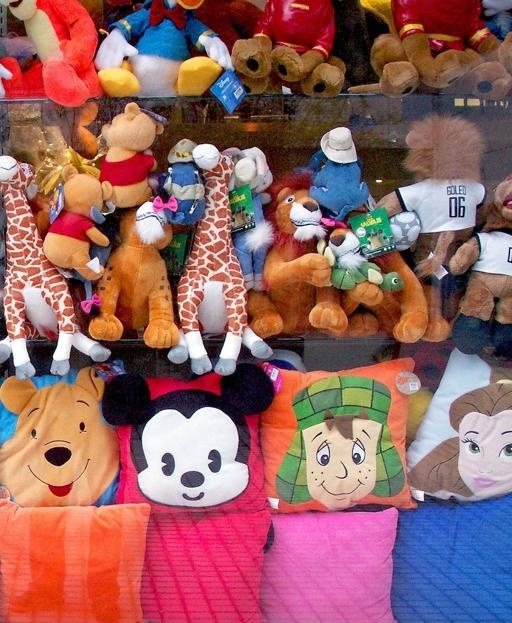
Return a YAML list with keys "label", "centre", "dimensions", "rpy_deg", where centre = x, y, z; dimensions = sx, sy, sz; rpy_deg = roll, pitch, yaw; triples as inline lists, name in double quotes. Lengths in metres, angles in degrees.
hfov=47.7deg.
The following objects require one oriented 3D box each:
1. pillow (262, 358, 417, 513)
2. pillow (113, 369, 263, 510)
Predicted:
- label: "pillow"
  centre: [0.164, 0.265, 1.185]
  dimensions: [0.371, 0.141, 0.291]
  rpy_deg: [0, 76, -3]
- label: "pillow"
  centre: [-0.134, 0.259, 1.138]
  dimensions: [0.373, 0.099, 0.278]
  rpy_deg: [-3, 92, -3]
